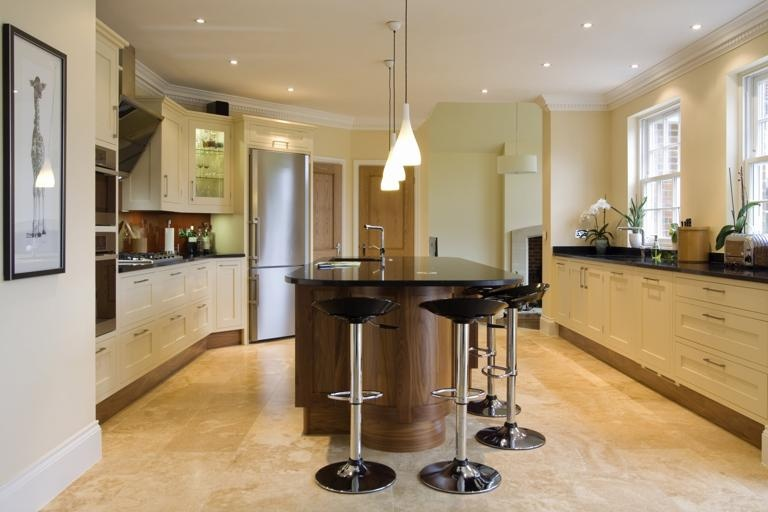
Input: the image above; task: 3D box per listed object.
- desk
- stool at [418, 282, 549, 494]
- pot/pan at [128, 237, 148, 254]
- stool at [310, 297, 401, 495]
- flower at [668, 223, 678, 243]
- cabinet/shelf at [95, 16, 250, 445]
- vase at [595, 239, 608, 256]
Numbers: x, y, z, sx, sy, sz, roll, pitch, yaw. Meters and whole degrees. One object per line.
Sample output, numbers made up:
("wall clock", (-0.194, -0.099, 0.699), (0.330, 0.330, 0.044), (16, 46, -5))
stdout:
("desk", (-0.014, 0.750, 4.223), (1.246, 1.057, 2.179), (0, 0, -2))
("stool", (0.735, 1.045, 4.077), (0.591, 1.174, 1.383), (1, 1, 27))
("pot/pan", (-2.624, -0.107, 5.696), (0.183, 0.194, 0.173), (1, -2, -18))
("stool", (-0.203, 0.904, 3.591), (0.559, 1.298, 0.349), (0, 10, 0))
("flower", (3.115, -0.246, 5.727), (0.061, 0.192, 0.278), (4, 10, 24))
("cabinet/shelf", (-2.292, -0.383, 5.612), (1.082, 3.315, 2.604), (0, 10, 3))
("vase", (2.757, -0.114, 6.747), (0.179, 0.198, 0.177), (0, -2, -2))
